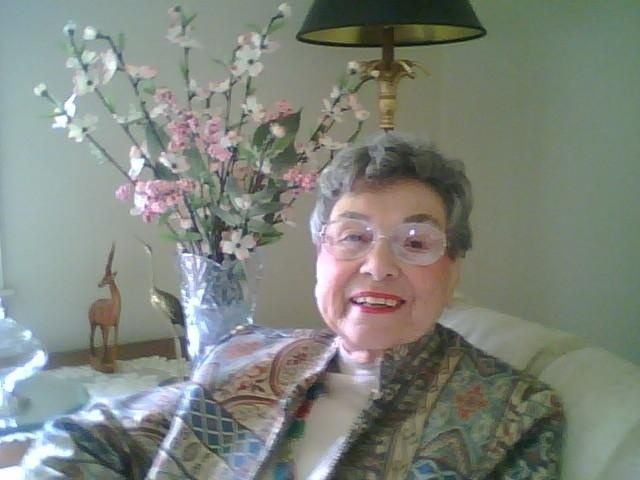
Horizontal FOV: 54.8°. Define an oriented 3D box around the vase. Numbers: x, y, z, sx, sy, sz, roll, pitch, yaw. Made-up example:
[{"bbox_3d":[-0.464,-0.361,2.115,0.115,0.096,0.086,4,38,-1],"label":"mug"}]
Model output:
[{"bbox_3d":[-0.210,0.123,1.524,0.222,0.322,0.210,2,0,-5],"label":"vase"}]
